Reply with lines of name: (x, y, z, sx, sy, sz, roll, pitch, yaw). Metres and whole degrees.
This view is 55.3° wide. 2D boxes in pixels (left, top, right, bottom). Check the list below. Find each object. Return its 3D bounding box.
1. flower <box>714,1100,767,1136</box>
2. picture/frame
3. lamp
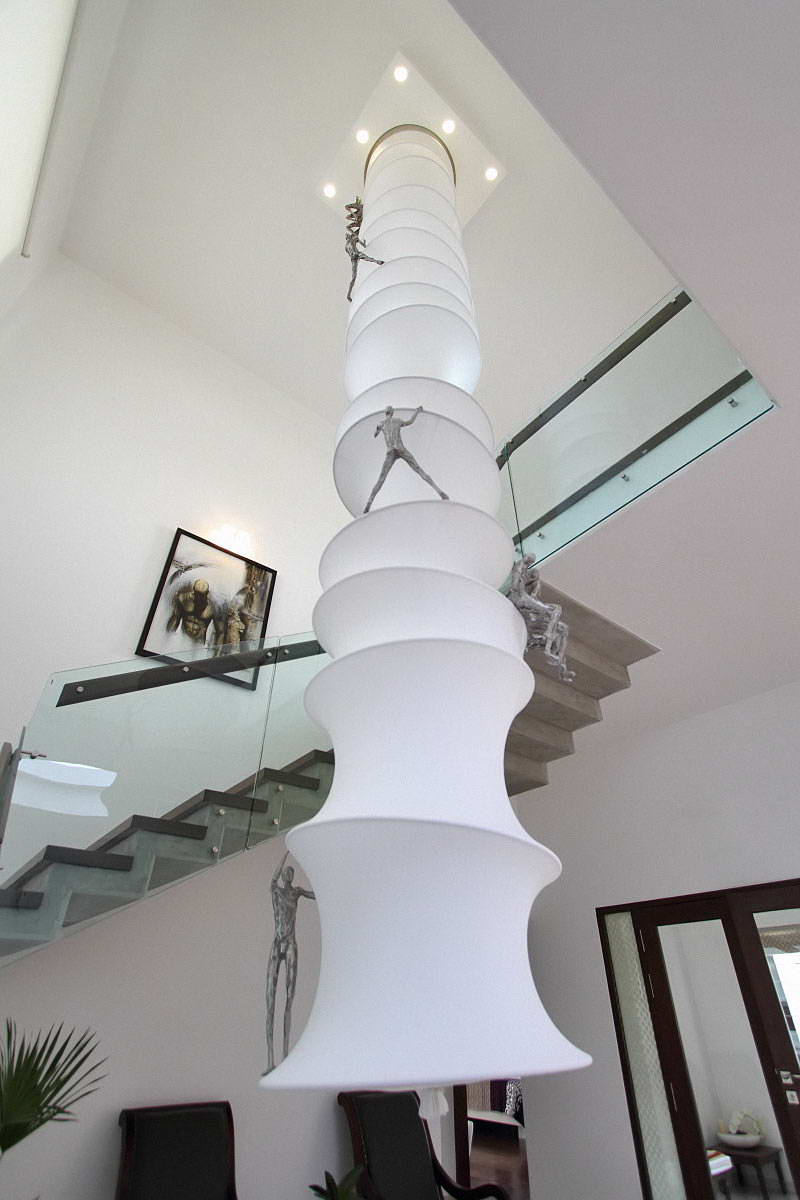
flower: (1.628, 2.453, 3.624, 0.153, 0.097, 0.163, -12, -24, 24)
picture/frame: (-1.169, 0.043, 4.405, 0.656, 0.837, 0.038, 35, -50, -30)
lamp: (0.030, -0.403, 1.756, 0.437, 2.563, 0.731, -5, -27, 7)
